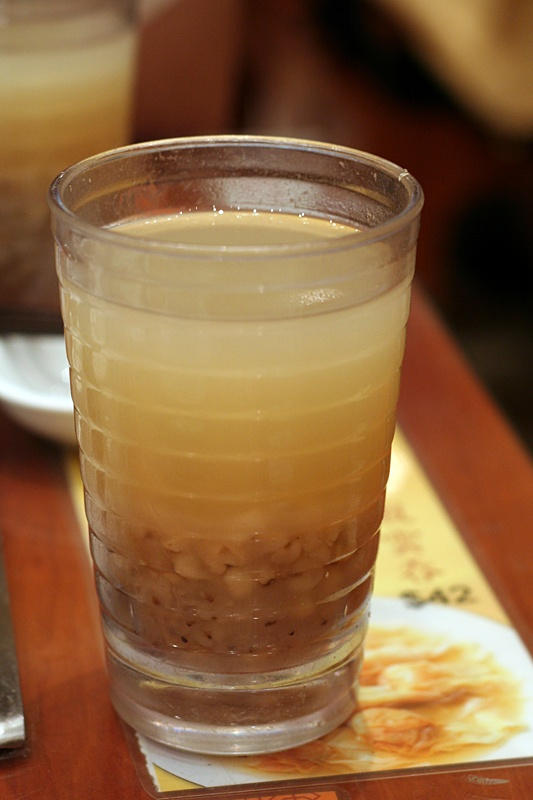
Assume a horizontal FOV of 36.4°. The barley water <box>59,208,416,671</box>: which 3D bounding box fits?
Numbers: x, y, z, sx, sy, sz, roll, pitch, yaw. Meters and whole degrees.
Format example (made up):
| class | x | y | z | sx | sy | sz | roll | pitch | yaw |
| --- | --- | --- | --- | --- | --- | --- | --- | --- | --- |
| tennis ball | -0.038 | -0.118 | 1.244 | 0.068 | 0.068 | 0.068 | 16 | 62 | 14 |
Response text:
| class | x | y | z | sx | sy | sz | roll | pitch | yaw |
| --- | --- | --- | --- | --- | --- | --- | --- | --- | --- |
| barley water | -0.022 | 0.029 | 0.343 | 0.143 | 0.173 | 0.101 | 8 | 39 | 6 |
